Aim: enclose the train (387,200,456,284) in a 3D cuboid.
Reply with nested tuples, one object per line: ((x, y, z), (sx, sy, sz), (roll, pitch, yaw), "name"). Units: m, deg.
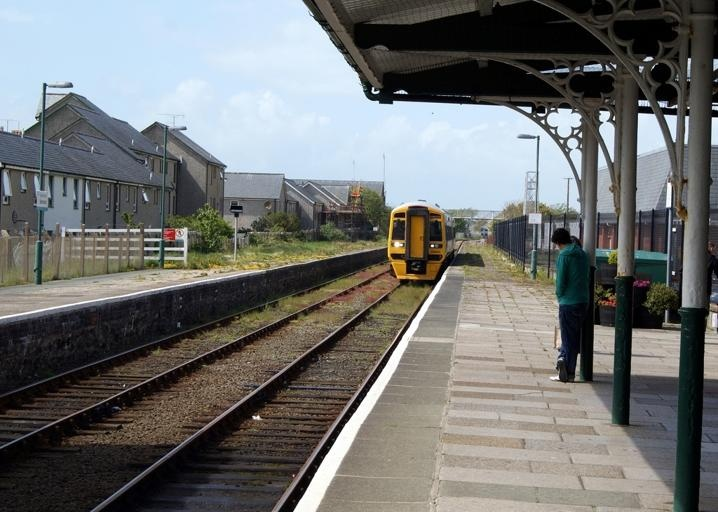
((2.380, -0.596, 30.719), (2.310, 3.254, 0.973), (-2, 3, -8), "train")

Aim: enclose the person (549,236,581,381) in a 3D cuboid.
((2.986, 0.730, 10.538), (0.505, 2.209, 0.460), (-1, 3, 1), "person")

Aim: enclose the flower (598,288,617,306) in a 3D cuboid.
((5.409, 0.911, 16.229), (0.354, 0.342, 0.922), (-1, 4, 16), "flower")

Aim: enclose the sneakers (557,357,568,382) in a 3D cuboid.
((2.877, 1.639, 10.482), (0.106, 0.381, 0.148), (-2, 6, 7), "sneakers")

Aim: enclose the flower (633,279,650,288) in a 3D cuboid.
((5.884, 0.601, 15.442), (0.435, 0.196, 0.526), (0, 0, 7), "flower")

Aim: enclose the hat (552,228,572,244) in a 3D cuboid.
((2.927, -0.268, 10.710), (0.199, 0.290, 0.280), (-1, -23, 6), "hat")

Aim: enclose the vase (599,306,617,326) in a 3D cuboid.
((5.373, 1.320, 16.089), (0.386, 0.476, 0.225), (1, 4, 39), "vase")
